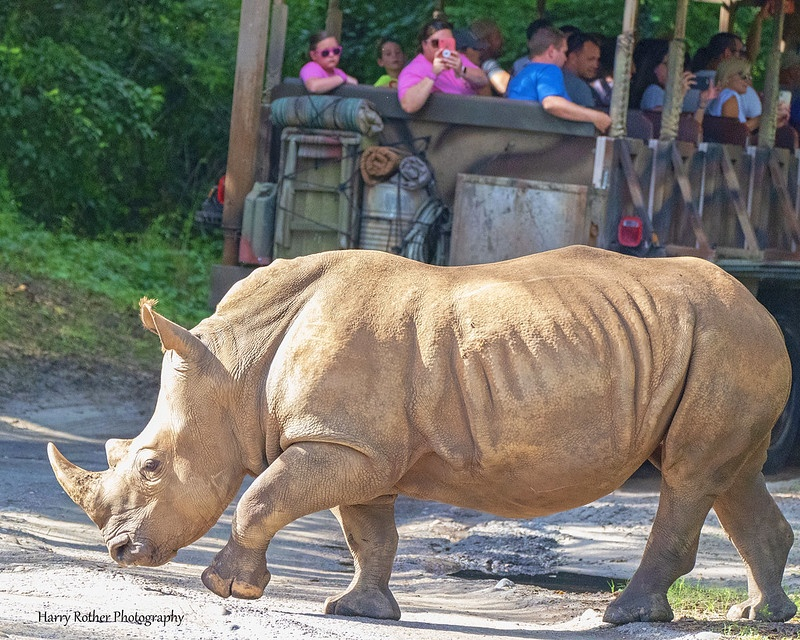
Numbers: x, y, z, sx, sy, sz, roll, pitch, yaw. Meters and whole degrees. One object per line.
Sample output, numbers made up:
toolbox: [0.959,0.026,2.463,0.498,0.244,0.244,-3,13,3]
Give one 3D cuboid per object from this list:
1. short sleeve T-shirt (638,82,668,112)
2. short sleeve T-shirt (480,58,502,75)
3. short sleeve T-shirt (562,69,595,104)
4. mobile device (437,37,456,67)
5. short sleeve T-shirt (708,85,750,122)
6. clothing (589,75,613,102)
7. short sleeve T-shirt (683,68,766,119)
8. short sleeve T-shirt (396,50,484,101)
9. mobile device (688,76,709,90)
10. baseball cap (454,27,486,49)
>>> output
short sleeve T-shirt: [2.494,-2.158,17.194,0.238,0.405,0.478,3,6,1]
short sleeve T-shirt: [0.920,-2.498,17.314,0.162,0.170,0.174,-15,-18,-28]
short sleeve T-shirt: [1.649,-2.103,16.143,0.243,0.371,0.111,-22,-4,-43]
mobile device: [0.428,-2.455,15.952,0.148,0.184,0.245,-1,10,0]
short sleeve T-shirt: [3.389,-2.193,17.951,0.525,0.310,0.332,-6,7,-43]
clothing: [2.004,-2.256,17.362,0.192,0.125,0.320,-8,43,-14]
short sleeve T-shirt: [3.412,-2.292,18.102,0.570,0.340,0.865,11,19,10]
short sleeve T-shirt: [0.360,-2.267,16.318,0.563,0.390,1.383,1,10,14]
mobile device: [3.000,-2.347,17.463,0.175,0.130,0.405,1,10,15]
baseball cap: [0.698,-2.779,17.465,0.283,0.182,0.206,-5,21,-19]
